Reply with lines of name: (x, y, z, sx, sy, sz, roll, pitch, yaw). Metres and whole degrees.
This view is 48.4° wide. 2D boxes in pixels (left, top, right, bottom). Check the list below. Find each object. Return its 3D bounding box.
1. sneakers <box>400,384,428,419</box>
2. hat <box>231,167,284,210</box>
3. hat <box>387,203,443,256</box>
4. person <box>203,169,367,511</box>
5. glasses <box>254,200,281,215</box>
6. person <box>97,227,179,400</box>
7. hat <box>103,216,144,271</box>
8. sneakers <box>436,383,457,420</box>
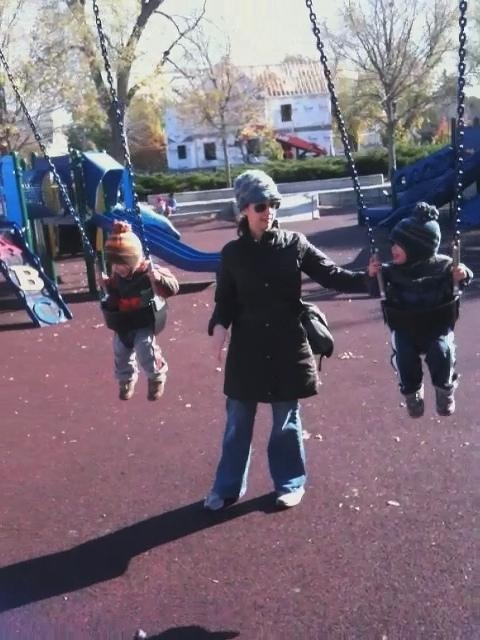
sneakers: (0.949, 0.399, 2.872, 0.102, 0.135, 0.316, -24, 8, 26)
hat: (0.078, -0.591, 2.398, 0.150, 0.136, 0.203, -13, 18, -42)
hat: (0.922, -0.489, 2.874, 0.316, 0.330, 0.212, -21, 27, -26)
person: (0.161, 0.124, 2.674, 0.685, 1.757, 0.524, -10, 11, -30)
glasses: (0.137, -0.511, 2.385, 0.082, 0.050, 0.163, 2, 12, 34)
person: (-0.631, -0.043, 3.331, 0.517, 1.163, 0.380, -3, 9, 7)
hat: (-0.716, -0.467, 3.302, 0.221, 0.305, 0.286, -5, 10, -1)
sneakers: (1.070, 0.420, 2.761, 0.095, 0.234, 0.241, -1, 10, 22)
